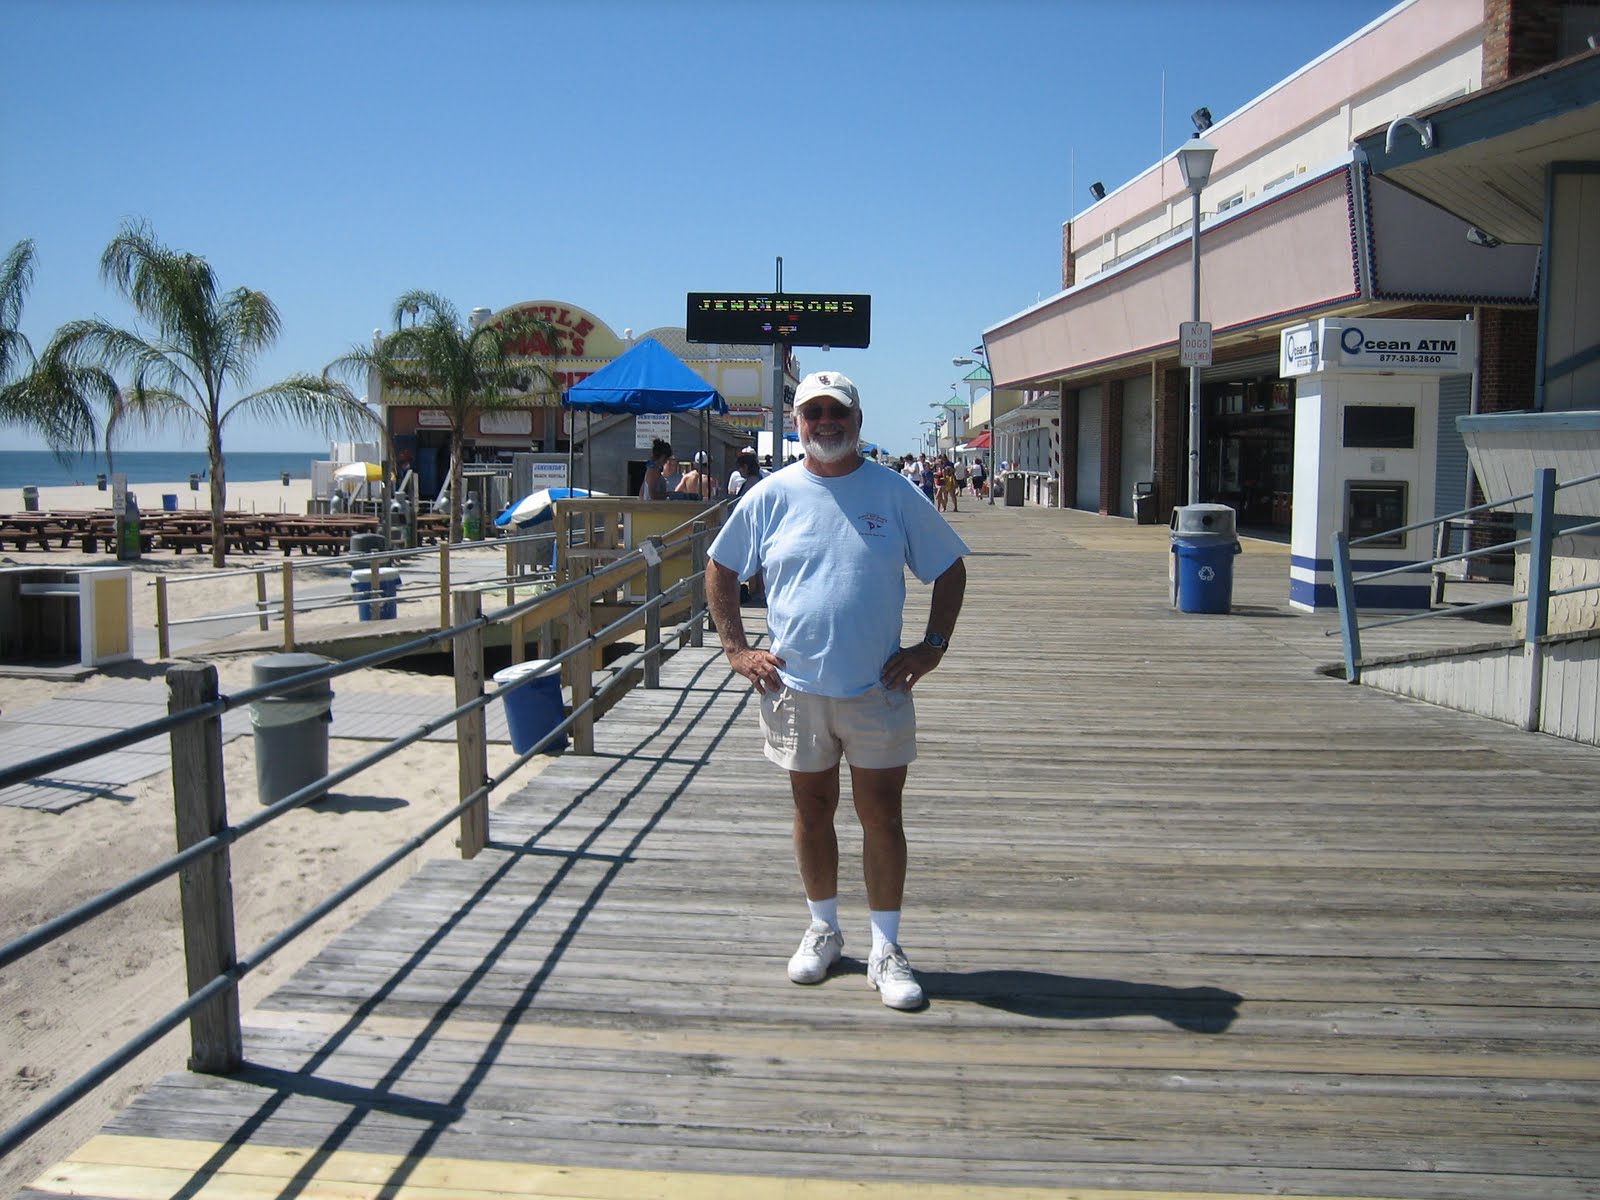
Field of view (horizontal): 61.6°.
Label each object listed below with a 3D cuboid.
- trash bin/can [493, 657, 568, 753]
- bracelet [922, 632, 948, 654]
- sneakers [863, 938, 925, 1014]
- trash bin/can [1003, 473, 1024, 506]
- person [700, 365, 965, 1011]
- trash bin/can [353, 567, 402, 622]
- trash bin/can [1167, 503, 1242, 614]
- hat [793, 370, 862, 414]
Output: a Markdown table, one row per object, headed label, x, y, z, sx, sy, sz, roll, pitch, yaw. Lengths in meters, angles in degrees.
| label | x | y | z | sx | sy | sz | roll | pitch | yaw |
| --- | --- | --- | --- | --- | --- | --- | --- | --- | --- |
| trash bin/can | -1.915 | 0.787 | 9.759 | 0.554 | 0.589 | 0.554 | -7 | 0 | -2 |
| bracelet | 0.473 | 0.146 | 4.545 | 0.080 | 0.051 | 0.073 | 17 | -12 | -1 |
| sneakers | 0.334 | 1.277 | 4.585 | 0.114 | 0.121 | 0.281 | 2 | -4 | -16 |
| trash bin/can | 6.326 | -3.199 | 38.859 | 0.425 | 0.819 | 0.544 | 5 | 10 | 32 |
| person | 0.120 | 0.276 | 4.642 | 0.830 | 2.100 | 0.434 | 4 | 9 | 23 |
| trash bin/can | -5.914 | -0.125 | 18.649 | 0.498 | 0.814 | 2.423 | -2 | 9 | -15 |
| trash bin/can | 4.127 | -0.433 | 13.531 | 0.637 | 1.111 | 0.652 | 2 | 8 | 14 |
| hat | 0.094 | -0.696 | 4.466 | 0.163 | 0.124 | 0.320 | -5 | 10 | -31 |
